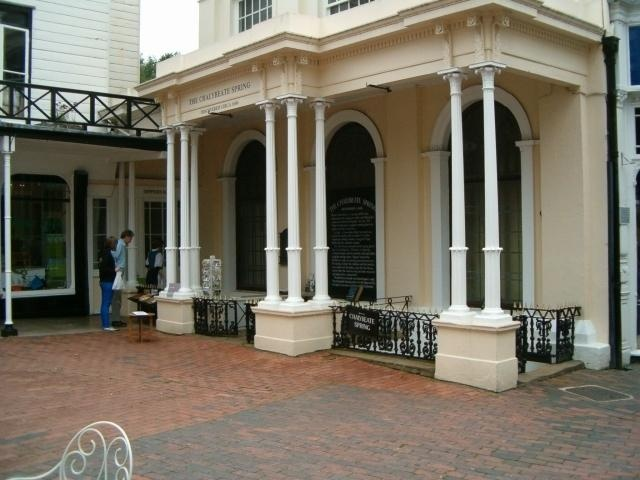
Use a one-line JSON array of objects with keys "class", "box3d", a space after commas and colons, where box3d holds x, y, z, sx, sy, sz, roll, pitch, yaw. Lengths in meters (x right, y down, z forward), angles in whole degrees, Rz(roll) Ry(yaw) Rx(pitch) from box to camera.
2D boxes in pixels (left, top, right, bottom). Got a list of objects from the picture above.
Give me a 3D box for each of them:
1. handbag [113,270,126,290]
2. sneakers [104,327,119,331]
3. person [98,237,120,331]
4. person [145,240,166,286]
[{"class": "handbag", "box3d": [-5.013, 0.999, 15.060, 0.260, 0.427, 0.266, -3, 5, -35]}, {"class": "sneakers", "box3d": [-5.245, 2.198, 15.281, 0.315, 0.132, 0.107, -2, 8, -21]}, {"class": "person", "box3d": [-5.333, 1.098, 15.304, 0.396, 2.310, 0.814, -1, 4, -19]}, {"class": "person", "box3d": [-4.861, 0.773, 17.856, 0.479, 1.454, 3.093, -1, 4, -16]}]
